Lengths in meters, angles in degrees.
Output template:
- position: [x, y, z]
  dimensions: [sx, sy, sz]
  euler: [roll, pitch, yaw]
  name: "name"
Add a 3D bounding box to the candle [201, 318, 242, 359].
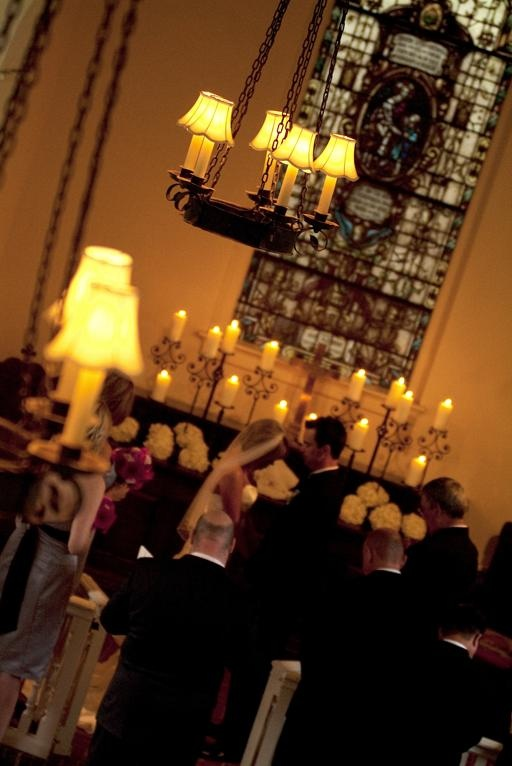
- position: [-0.254, -0.311, 5.413]
  dimensions: [0.330, 0.286, 0.111]
  euler: [-10, 45, -44]
  name: "candle"
